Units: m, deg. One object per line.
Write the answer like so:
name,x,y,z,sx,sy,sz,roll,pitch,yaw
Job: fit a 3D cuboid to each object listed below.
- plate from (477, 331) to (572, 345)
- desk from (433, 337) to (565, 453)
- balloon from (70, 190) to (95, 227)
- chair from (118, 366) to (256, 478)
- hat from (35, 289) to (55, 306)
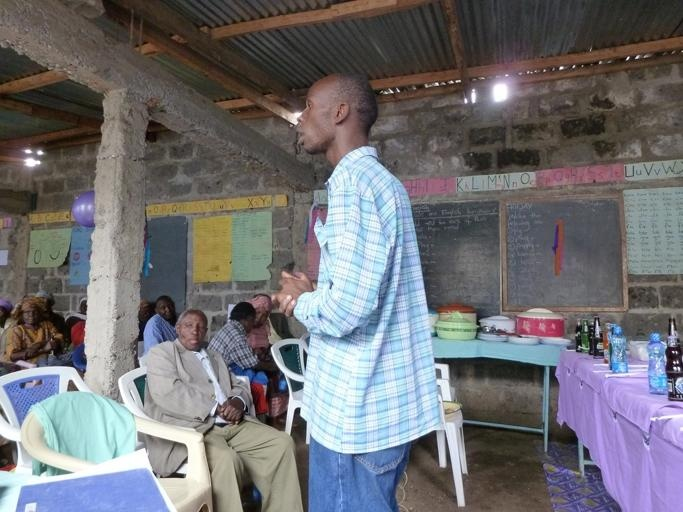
plate,1.563,0.722,4.564,0.774,0.080,0.241,-1,2,21
desk,1.387,1.194,4.770,1.281,0.823,0.766,-1,-9,34
balloon,-2.208,-0.414,4.482,0.159,0.306,0.402,-3,2,-27
chair,-1.085,1.043,3.487,0.634,0.803,0.640,-18,-17,31
hat,-3.399,0.472,6.008,0.202,0.069,0.207,7,-16,12
